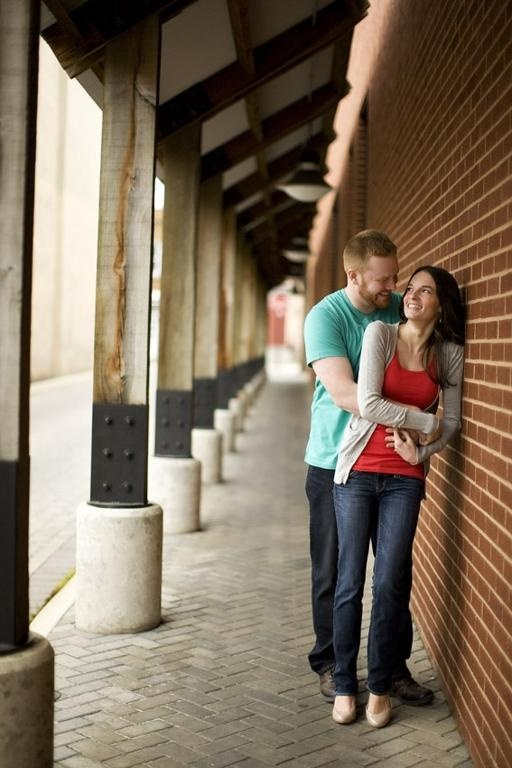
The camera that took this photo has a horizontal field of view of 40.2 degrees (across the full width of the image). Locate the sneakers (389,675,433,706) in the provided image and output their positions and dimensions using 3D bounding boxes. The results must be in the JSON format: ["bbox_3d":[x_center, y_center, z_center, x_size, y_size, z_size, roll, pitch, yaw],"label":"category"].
[{"bbox_3d":[0.694,1.341,3.150,0.085,0.089,0.182,0,-4,-42],"label":"sneakers"}]

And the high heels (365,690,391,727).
[{"bbox_3d":[0.501,1.310,2.862,0.057,0.077,0.176,-3,-2,9],"label":"high heels"}]

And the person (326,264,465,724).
[{"bbox_3d":[0.571,0.454,2.819,0.525,1.851,0.408,0,0,7],"label":"person"}]

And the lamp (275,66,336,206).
[{"bbox_3d":[0.731,-2.874,9.333,0.653,0.972,0.662,-2,8,-29],"label":"lamp"}]
